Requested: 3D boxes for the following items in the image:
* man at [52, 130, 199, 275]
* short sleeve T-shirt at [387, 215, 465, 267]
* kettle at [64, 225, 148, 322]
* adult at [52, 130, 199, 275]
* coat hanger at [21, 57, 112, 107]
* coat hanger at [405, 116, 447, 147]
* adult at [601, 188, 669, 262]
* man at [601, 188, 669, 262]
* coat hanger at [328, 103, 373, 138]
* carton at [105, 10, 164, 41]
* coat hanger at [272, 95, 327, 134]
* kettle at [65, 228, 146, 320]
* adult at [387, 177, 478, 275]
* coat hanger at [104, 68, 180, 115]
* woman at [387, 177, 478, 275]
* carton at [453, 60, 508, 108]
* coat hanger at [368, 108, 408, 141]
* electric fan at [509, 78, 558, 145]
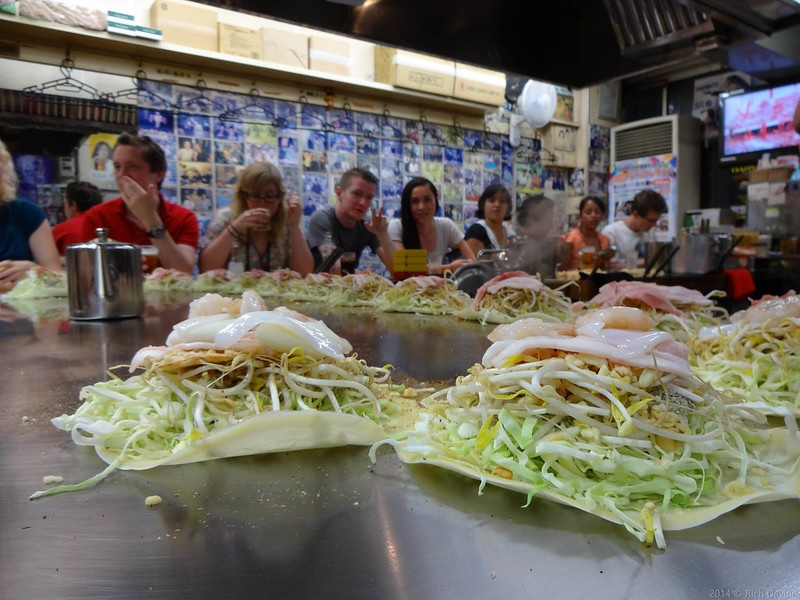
[{"bbox_3d":[-1.455,-0.413,3.072,0.699,0.906,0.579,1,-2,-12],"label":"man"},{"bbox_3d":[0.150,-0.368,3.514,0.548,0.464,0.280,0,-2,-6],"label":"short sleeve T-shirt"},{"bbox_3d":[-0.818,-0.067,1.736,0.217,0.284,0.296,0,4,-15],"label":"kettle"},{"bbox_3d":[-1.465,-0.404,3.073,0.703,0.920,0.622,0,-3,-10],"label":"adult"},{"bbox_3d":[-2.151,-1.392,3.603,0.436,0.169,0.015,-11,27,-38],"label":"coat hanger"},{"bbox_3d":[0.215,-1.575,5.249,0.368,0.156,0.014,0,2,-35],"label":"coat hanger"},{"bbox_3d":[1.900,-0.565,4.615,0.451,0.665,0.398,7,26,16],"label":"adult"},{"bbox_3d":[1.939,-0.558,4.615,0.458,0.693,0.414,16,28,34],"label":"man"},{"bbox_3d":[-0.442,-1.541,4.819,0.368,0.155,0.015,-1,5,-34],"label":"coat hanger"},{"bbox_3d":[-1.711,-1.763,3.652,0.337,0.147,0.070,-4,11,-34],"label":"carton"},{"bbox_3d":[-0.833,-1.507,4.563,0.383,0.192,0.005,-3,15,-30],"label":"coat hanger"},{"bbox_3d":[-0.923,-0.079,1.775,0.213,0.264,0.272,-2,5,-23],"label":"kettle"},{"bbox_3d":[0.175,-0.443,3.747,0.573,0.744,0.530,-7,-2,44],"label":"adult"},{"bbox_3d":[-1.775,-1.454,3.932,0.480,0.280,0.027,7,20,8],"label":"coat hanger"},{"bbox_3d":[0.165,-0.440,3.802,0.629,0.746,0.496,-6,-1,-3],"label":"woman"},{"bbox_3d":[0.654,-2.015,5.285,0.282,0.305,0.909,22,24,40],"label":"carton"},{"bbox_3d":[-0.126,-1.565,5.024,0.371,0.201,0.013,0,4,-37],"label":"coat hanger"},{"bbox_3d":[1.301,-1.898,5.804,0.470,0.591,0.451,-6,9,-39],"label":"electric fan"}]
